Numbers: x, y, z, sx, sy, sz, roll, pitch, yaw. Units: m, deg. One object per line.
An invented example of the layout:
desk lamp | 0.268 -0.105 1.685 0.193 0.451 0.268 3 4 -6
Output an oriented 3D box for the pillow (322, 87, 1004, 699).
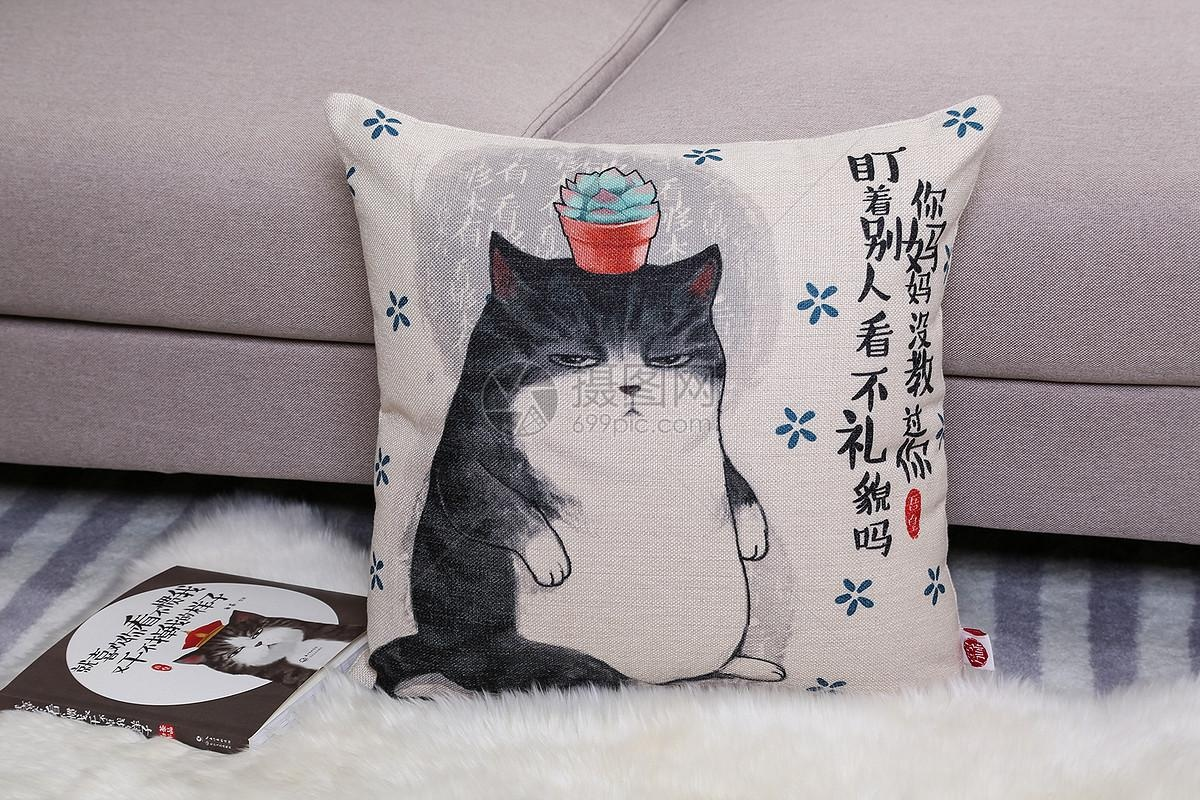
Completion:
pillow | 0.092 -0.002 1.339 0.845 0.705 0.312 -1 3 0
